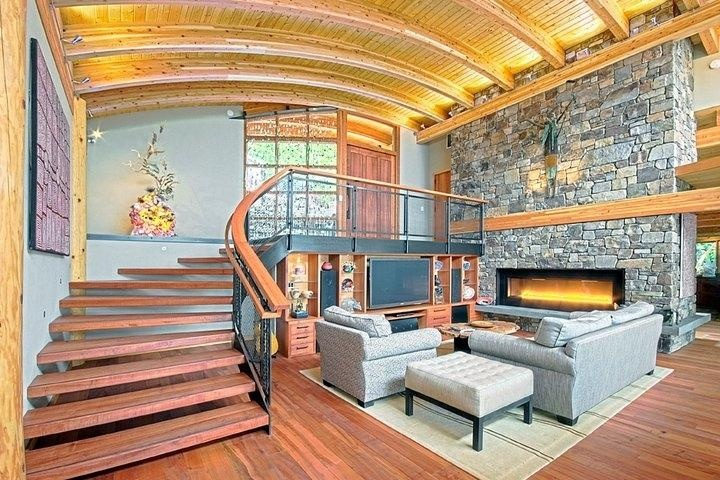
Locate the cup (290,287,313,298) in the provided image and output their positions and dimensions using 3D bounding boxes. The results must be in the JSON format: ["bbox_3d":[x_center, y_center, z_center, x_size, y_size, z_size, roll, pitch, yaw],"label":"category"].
[{"bbox_3d":[-0.969,0.872,7.000,0.282,0.104,0.193,2,-5,-24],"label":"cup"}]

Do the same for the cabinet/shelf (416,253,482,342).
[{"bbox_3d":[1.629,1.081,7.985,1.781,1.444,0.457,2,-4,-38],"label":"cabinet/shelf"}]

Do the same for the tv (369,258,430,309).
[{"bbox_3d":[0.792,0.790,7.906,0.131,0.893,1.690,7,-11,-36],"label":"tv"}]

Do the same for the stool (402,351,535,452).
[{"bbox_3d":[1.261,1.626,4.626,1.047,0.486,1.002,0,0,-37],"label":"stool"}]

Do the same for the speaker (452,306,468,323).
[{"bbox_3d":[1.988,1.495,8.493,0.439,0.259,0.229,1,0,-34],"label":"speaker"}]

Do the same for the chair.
[{"bbox_3d":[0.284,1.318,5.597,1.305,0.947,1.337,-1,2,-39],"label":"chair"}]
